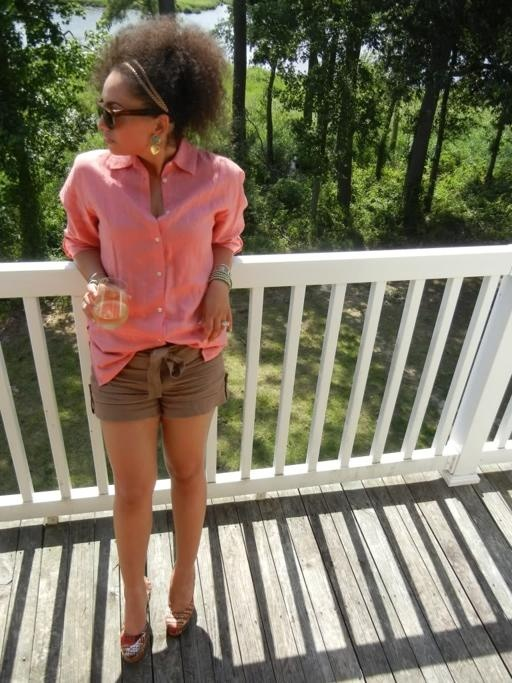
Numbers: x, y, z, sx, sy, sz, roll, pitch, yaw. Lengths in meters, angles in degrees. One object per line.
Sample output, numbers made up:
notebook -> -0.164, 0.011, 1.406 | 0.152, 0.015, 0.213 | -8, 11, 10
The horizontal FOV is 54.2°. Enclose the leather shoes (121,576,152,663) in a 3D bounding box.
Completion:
leather shoes -> -0.350, 0.832, 1.440 | 0.075, 0.055, 0.237 | 14, -1, -7

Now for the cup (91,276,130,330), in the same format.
cup -> -0.299, -0.076, 1.031 | 0.083, 0.110, 0.083 | 8, 20, -3

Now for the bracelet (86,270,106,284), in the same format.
bracelet -> -0.346, -0.139, 1.087 | 0.030, 0.022, 0.029 | 33, 45, -27

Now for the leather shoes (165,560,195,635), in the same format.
leather shoes -> -0.223, 0.799, 1.488 | 0.066, 0.043, 0.186 | 7, 5, 1

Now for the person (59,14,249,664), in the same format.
person -> -0.211, 0.072, 1.252 | 0.436, 1.511, 0.516 | -6, 31, -21

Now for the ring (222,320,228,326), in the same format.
ring -> -0.073, -0.042, 1.197 | 0.005, 0.016, 0.010 | 11, -5, -10

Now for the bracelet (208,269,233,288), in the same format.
bracelet -> -0.079, -0.156, 1.240 | 0.039, 0.043, 0.049 | -1, 6, -5
